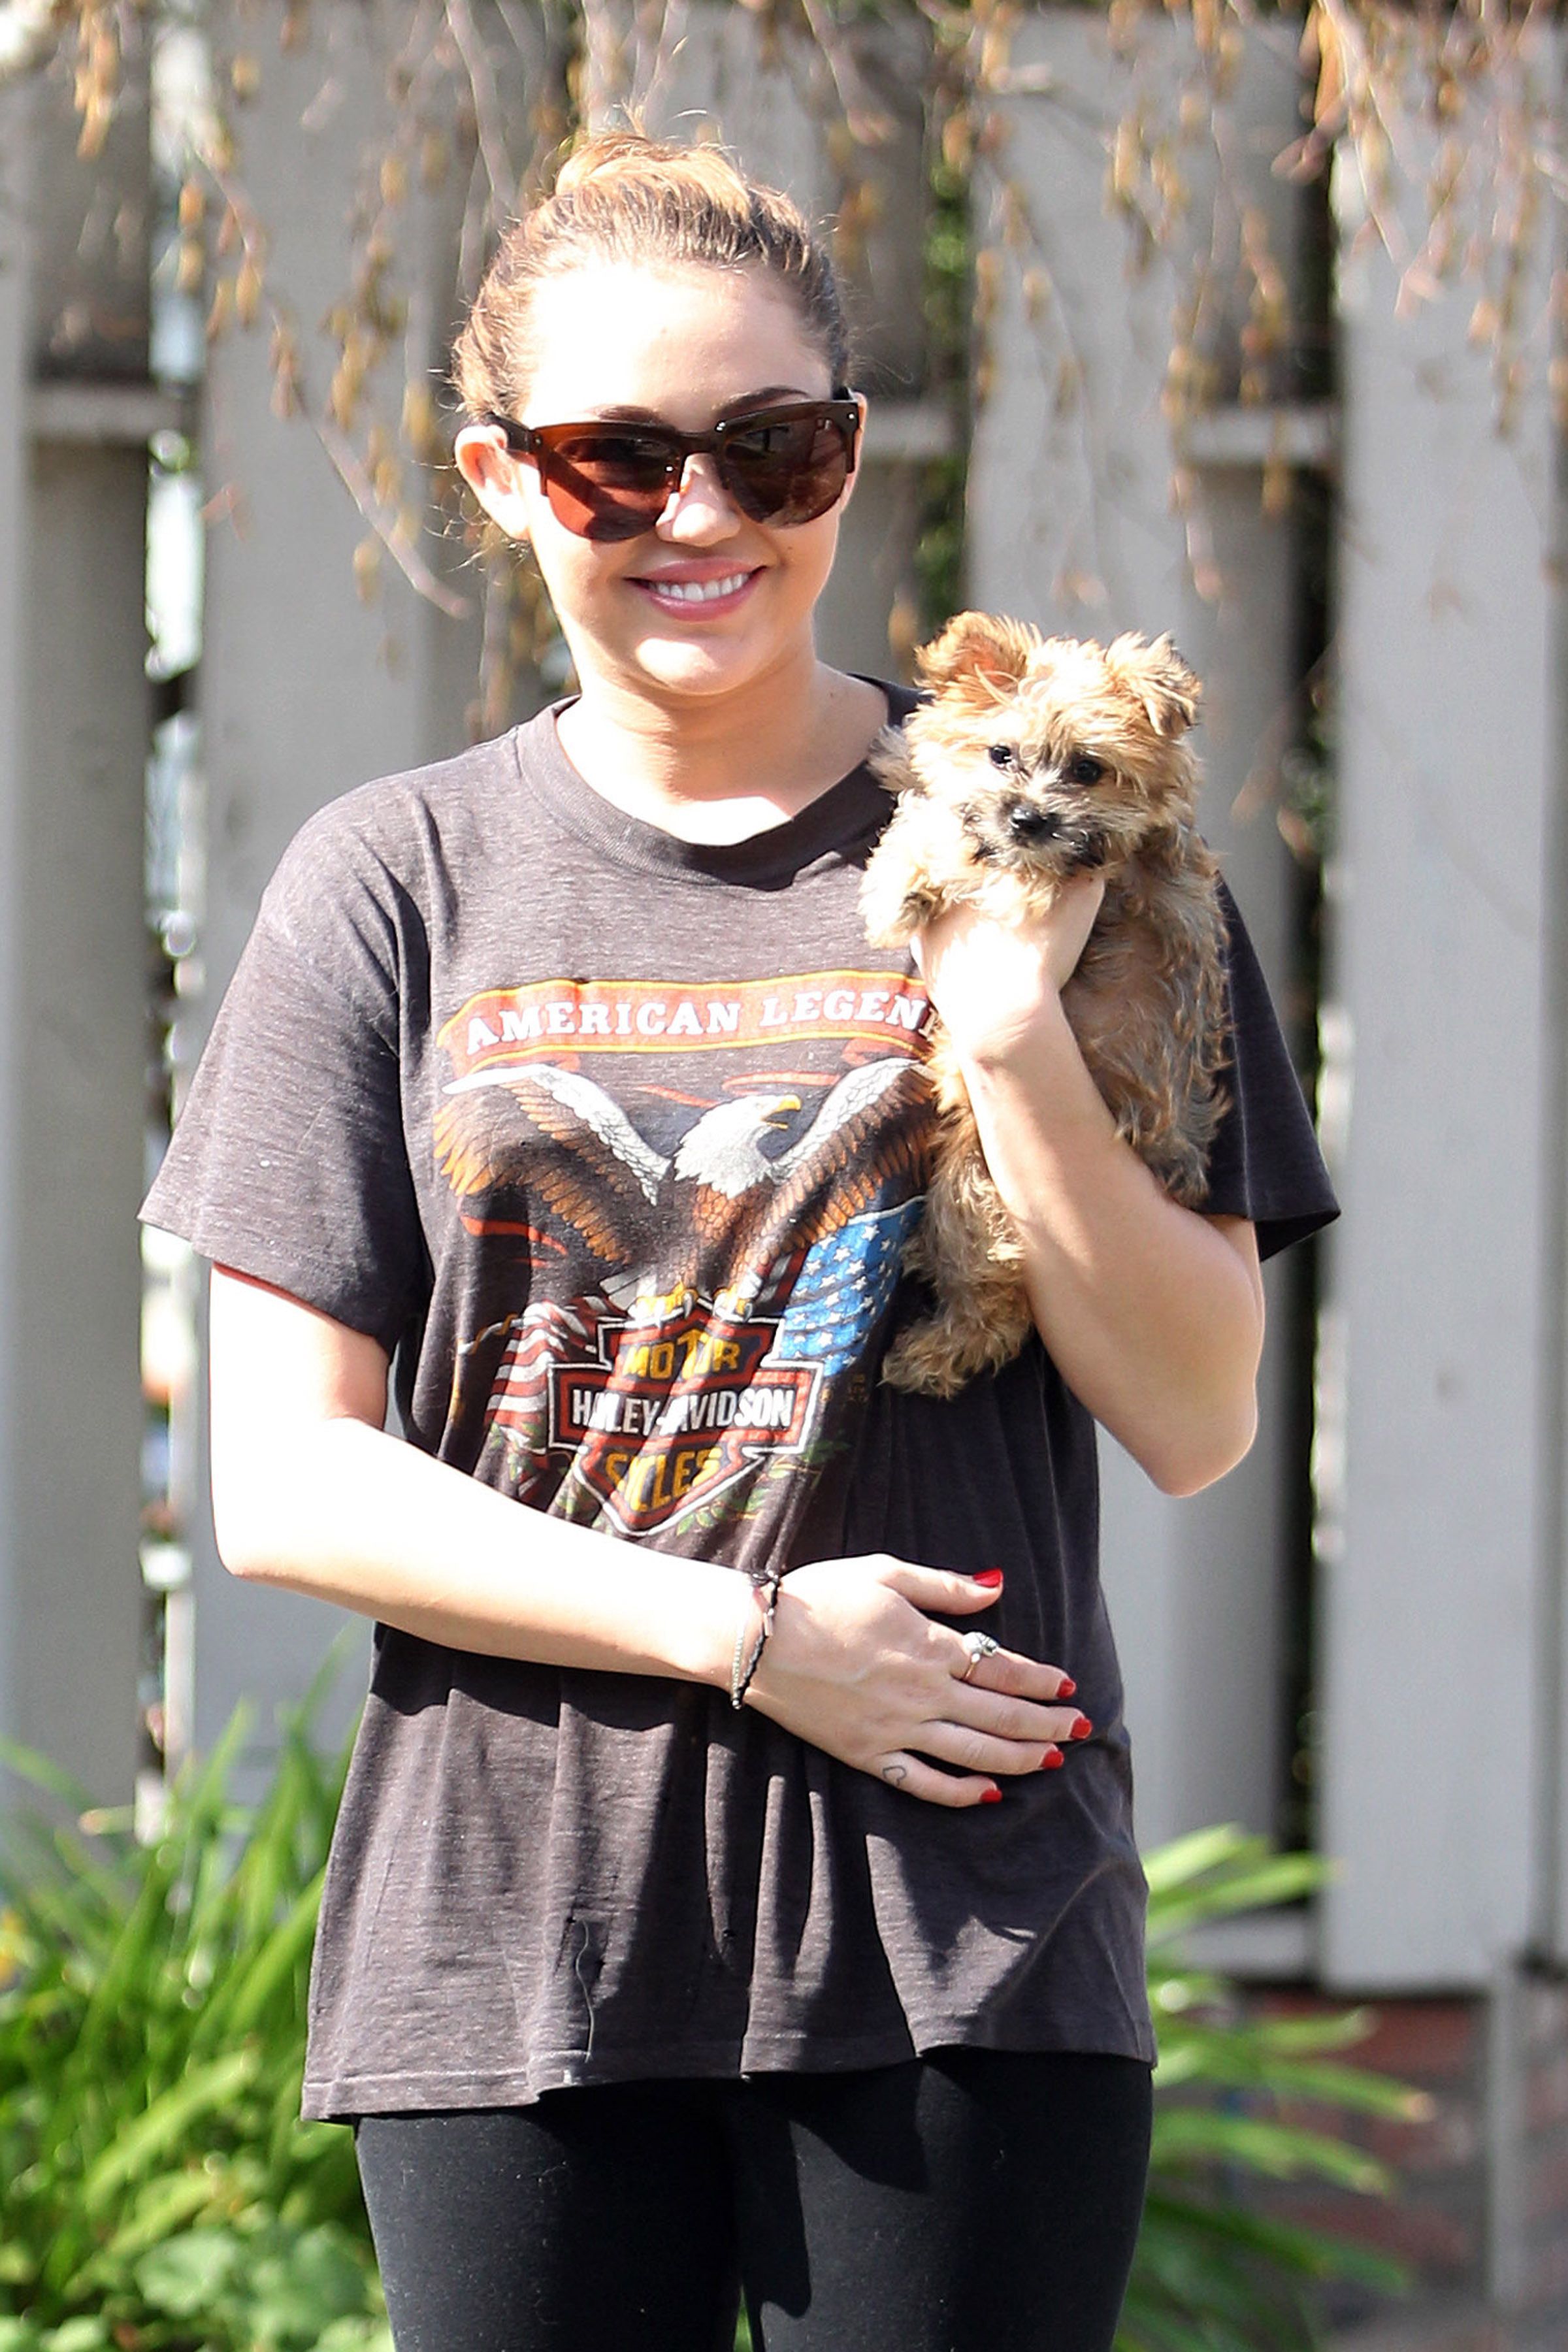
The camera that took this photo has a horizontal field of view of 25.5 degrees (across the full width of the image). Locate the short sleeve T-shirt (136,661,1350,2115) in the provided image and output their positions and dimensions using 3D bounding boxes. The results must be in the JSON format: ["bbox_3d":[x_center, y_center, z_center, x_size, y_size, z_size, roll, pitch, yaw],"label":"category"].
[{"bbox_3d":[-0.127,0.192,3.037,0.860,1.226,0.372,-1,3,3],"label":"short sleeve T-shirt"}]
